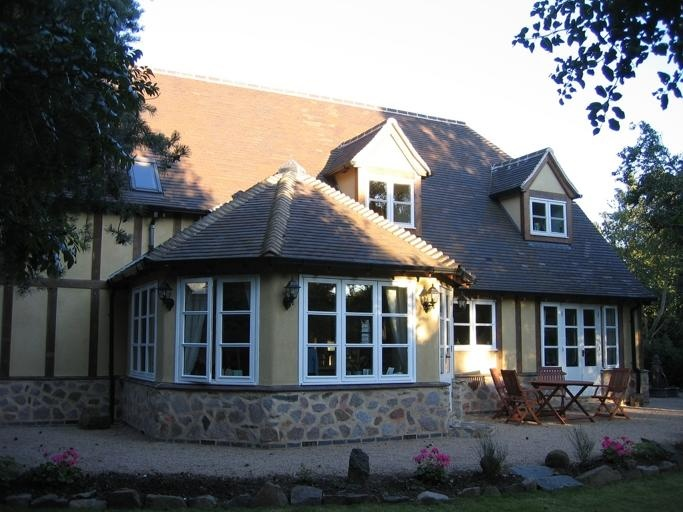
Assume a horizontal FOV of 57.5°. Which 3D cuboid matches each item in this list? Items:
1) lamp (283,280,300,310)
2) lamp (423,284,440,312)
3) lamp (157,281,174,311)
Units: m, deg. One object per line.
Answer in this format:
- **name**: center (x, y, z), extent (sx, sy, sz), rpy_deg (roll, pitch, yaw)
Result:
- **lamp**: center (-1.073, 0.792, 13.169), extent (0.373, 0.666, 0.359), rpy_deg (2, -11, -9)
- **lamp**: center (2.051, 0.995, 14.502), extent (0.416, 0.612, 0.344), rpy_deg (0, -11, -3)
- **lamp**: center (-3.888, 0.870, 13.682), extent (0.344, 0.644, 0.274), rpy_deg (-5, -12, 22)
